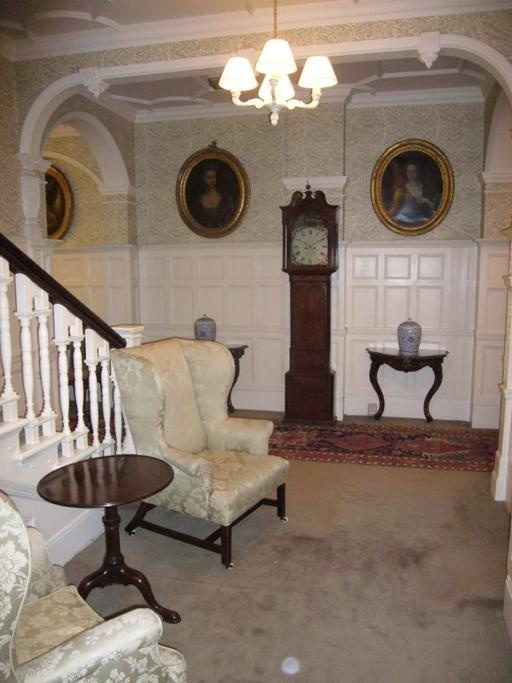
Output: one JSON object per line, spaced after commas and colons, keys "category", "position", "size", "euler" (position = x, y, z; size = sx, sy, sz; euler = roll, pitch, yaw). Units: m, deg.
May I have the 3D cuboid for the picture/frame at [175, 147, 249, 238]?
{"category": "picture/frame", "position": [-0.420, -1.558, 5.882], "size": [1.036, 1.231, 0.099], "euler": [1, 10, 10]}

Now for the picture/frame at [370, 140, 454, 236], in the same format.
{"category": "picture/frame", "position": [1.536, -1.508, 5.496], "size": [1.024, 1.120, 0.098], "euler": [0, 8, 15]}

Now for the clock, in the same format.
{"category": "clock", "position": [0.492, -0.330, 5.387], "size": [0.518, 2.235, 0.290], "euler": [1, 9, 6]}

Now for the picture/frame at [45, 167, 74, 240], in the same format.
{"category": "picture/frame", "position": [-2.316, -1.616, 6.665], "size": [0.342, 0.846, 0.132], "euler": [1, 9, 10]}

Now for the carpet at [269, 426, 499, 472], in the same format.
{"category": "carpet", "position": [1.098, 0.876, 4.824], "size": [1.952, 0.019, 1.249], "euler": [1, 7, 7]}

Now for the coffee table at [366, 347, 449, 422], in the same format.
{"category": "coffee table", "position": [1.462, 0.369, 5.508], "size": [0.775, 0.598, 0.745], "euler": [1, 3, 9]}
